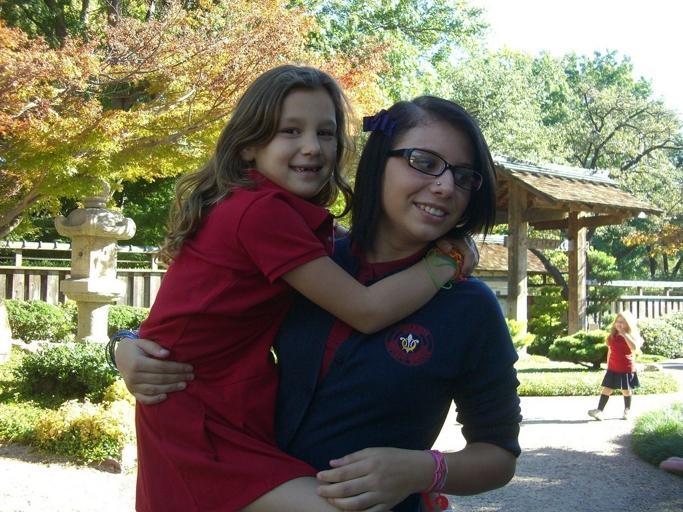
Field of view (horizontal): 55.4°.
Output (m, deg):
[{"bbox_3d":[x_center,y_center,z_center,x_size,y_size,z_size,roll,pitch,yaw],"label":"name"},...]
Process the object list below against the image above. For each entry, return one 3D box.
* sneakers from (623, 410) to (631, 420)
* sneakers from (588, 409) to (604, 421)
[{"bbox_3d":[4.112,2.276,9.378,0.040,0.130,0.100,5,7,30],"label":"sneakers"},{"bbox_3d":[3.650,2.257,9.295,0.300,0.200,0.104,16,-21,-35],"label":"sneakers"}]
